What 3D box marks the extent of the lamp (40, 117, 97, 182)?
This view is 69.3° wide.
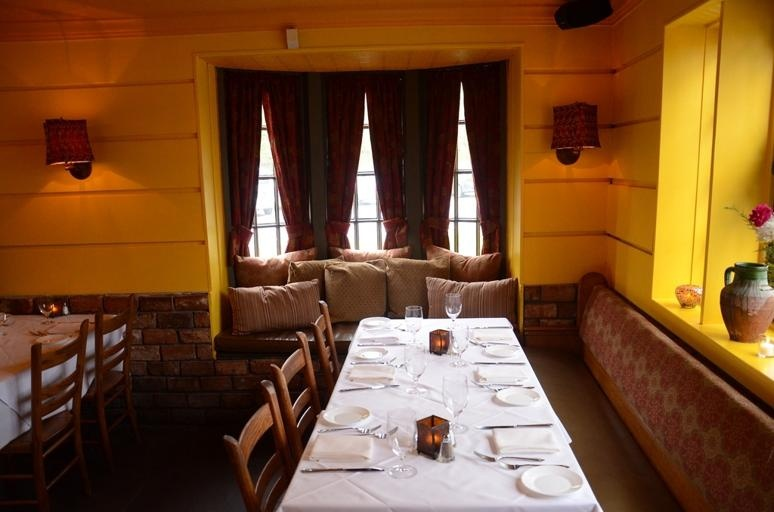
[{"bbox_3d":[-2.527,-0.880,4.465,0.424,0.569,0.294,-8,12,-38],"label":"lamp"}]

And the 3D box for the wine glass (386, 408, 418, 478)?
[{"bbox_3d":[0.075,0.884,2.713,0.137,0.288,0.273,-3,6,6],"label":"wine glass"}]

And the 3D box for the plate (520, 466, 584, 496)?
[{"bbox_3d":[0.751,1.032,2.562,0.279,0.083,0.142,-3,6,11],"label":"plate"}]

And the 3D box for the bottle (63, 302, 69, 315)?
[{"bbox_3d":[-2.530,0.415,4.409,0.024,0.093,0.100,6,6,-13],"label":"bottle"}]
